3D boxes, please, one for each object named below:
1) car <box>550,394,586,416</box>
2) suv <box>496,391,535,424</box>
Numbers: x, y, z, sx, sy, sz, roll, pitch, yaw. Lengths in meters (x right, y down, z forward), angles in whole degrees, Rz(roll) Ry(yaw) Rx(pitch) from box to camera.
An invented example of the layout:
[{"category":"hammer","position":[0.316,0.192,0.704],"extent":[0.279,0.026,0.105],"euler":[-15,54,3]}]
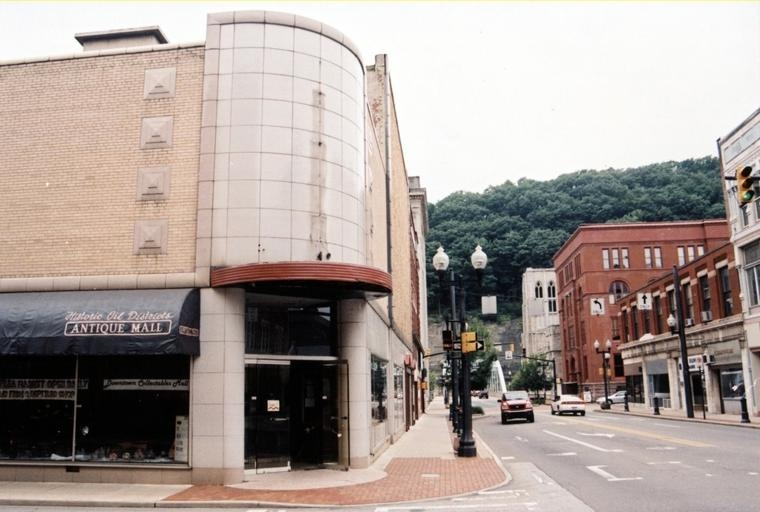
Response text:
[{"category":"car","position":[14.117,11.372,57.168],"extent":[1.400,1.062,3.203],"euler":[0,-7,1]},{"category":"suv","position":[8.628,9.690,48.047],"extent":[1.938,2.173,2.362],"euler":[-6,-15,7]}]
